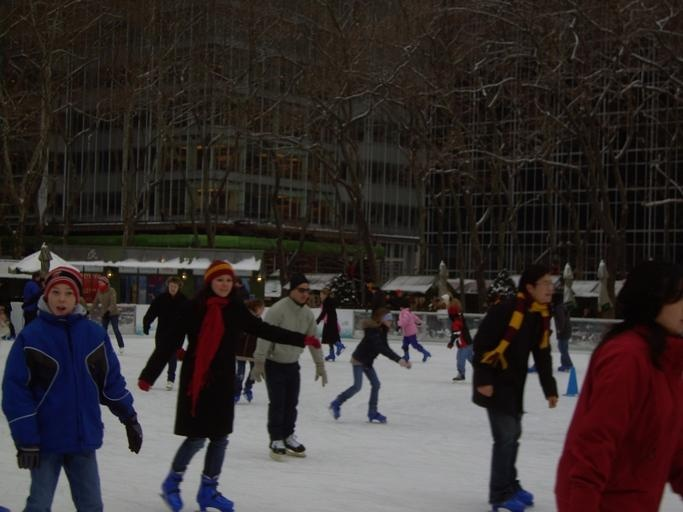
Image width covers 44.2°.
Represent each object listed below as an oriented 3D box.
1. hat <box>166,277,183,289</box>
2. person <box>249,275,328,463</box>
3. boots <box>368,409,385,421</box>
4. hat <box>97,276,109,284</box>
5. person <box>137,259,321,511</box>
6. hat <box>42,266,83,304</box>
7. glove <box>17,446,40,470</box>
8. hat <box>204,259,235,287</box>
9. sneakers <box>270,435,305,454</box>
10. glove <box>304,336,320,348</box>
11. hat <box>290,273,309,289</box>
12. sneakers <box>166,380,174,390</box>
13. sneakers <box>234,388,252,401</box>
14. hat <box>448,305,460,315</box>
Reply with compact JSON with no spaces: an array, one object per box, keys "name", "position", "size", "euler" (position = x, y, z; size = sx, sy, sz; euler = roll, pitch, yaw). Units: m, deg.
[{"name":"hat","position":[-3.015,0.463,15.156],"size":[0.350,0.224,0.454],"euler":[2,-5,-4]},{"name":"person","position":[-0.581,1.198,9.303],"size":[0.786,1.993,0.534],"euler":[5,-5,-24]},{"name":"boots","position":[0.506,2.255,11.858],"size":[0.246,0.208,0.131],"euler":[-4,3,4]},{"name":"hat","position":[-6.592,0.633,23.222],"size":[0.294,0.313,0.250],"euler":[1,4,-31]},{"name":"person","position":[-1.104,1.101,7.178],"size":[1.216,2.170,0.467],"euler":[3,-3,-17]},{"name":"hat","position":[-1.891,0.200,5.763],"size":[0.197,0.280,0.286],"euler":[4,-4,-10]},{"name":"glove","position":[-2.053,1.312,5.491],"size":[0.124,0.142,0.130],"euler":[-6,-10,41]},{"name":"hat","position":[-1.037,0.128,7.188],"size":[0.205,0.201,0.216],"euler":[-7,-8,33]},{"name":"sneakers","position":[-0.552,2.089,9.261],"size":[0.467,0.243,0.161],"euler":[0,0,-30]},{"name":"glove","position":[-0.275,0.780,7.779],"size":[0.133,0.062,0.143],"euler":[10,-8,33]},{"name":"hat","position":[-0.460,0.241,9.249],"size":[0.168,0.179,0.172],"euler":[-11,-18,-10]},{"name":"sneakers","position":[-3.123,2.345,15.274],"size":[0.100,0.158,0.321],"euler":[4,-6,-6]},{"name":"sneakers","position":[-1.596,2.288,13.795],"size":[0.124,0.216,0.421],"euler":[2,4,-22]},{"name":"hat","position":[2.379,1.124,17.811],"size":[0.193,0.190,0.182],"euler":[-2,-1,22]}]
